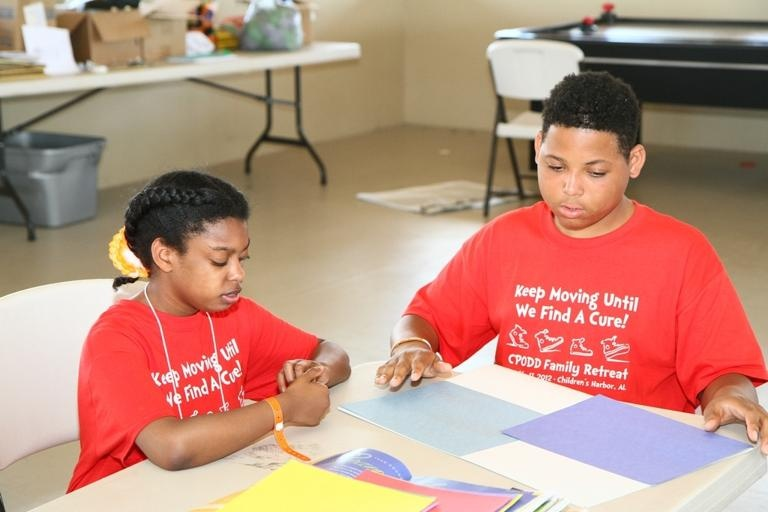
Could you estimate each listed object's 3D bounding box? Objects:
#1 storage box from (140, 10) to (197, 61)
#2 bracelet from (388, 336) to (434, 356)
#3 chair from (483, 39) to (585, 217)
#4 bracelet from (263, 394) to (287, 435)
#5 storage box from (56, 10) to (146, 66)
[{"bbox_3d":[-0.703,-0.716,2.194,0.182,0.174,0.177,1,32,0],"label":"storage box"},{"bbox_3d":[0.050,0.166,1.254,0.076,0.021,0.038,-6,22,-9],"label":"bracelet"},{"bbox_3d":[0.904,-0.749,3.733,0.666,0.987,0.644,-2,28,5],"label":"chair"},{"bbox_3d":[-0.168,0.247,1.032,0.013,0.041,0.031,-14,-2,-4],"label":"bracelet"},{"bbox_3d":[-0.944,-0.748,2.242,0.280,0.162,0.257,-11,28,-28],"label":"storage box"}]
